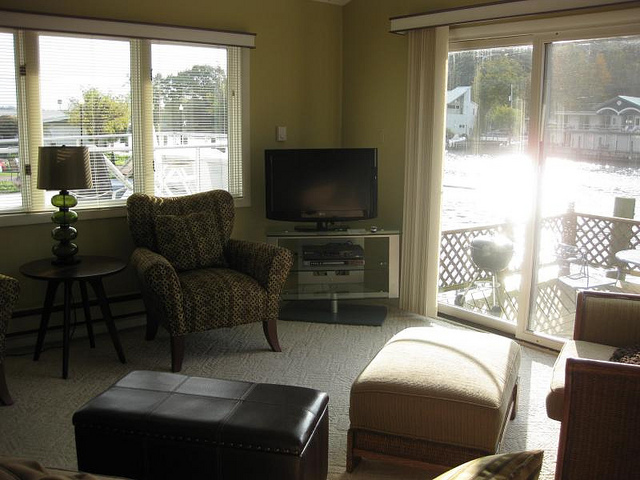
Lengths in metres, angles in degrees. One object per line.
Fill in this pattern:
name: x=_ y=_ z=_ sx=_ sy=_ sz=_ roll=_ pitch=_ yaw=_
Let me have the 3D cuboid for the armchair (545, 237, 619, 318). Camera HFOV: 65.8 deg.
armchair: x=1.868 y=0.247 z=3.663 sx=0.382 sy=0.521 sz=0.364 roll=-6 pitch=11 yaw=-20

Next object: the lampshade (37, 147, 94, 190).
lampshade: x=-1.815 y=-0.526 z=3.506 sx=0.399 sy=0.325 sz=0.402 roll=13 pitch=17 yaw=39

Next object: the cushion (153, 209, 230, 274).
cushion: x=-0.999 y=0.012 z=3.803 sx=0.521 sy=0.466 sz=0.154 roll=-5 pitch=-1 yaw=-3

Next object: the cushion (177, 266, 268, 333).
cushion: x=-0.707 y=0.436 z=3.668 sx=0.601 sy=0.346 sz=0.397 roll=-5 pitch=14 yaw=-20

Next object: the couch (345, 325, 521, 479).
couch: x=0.568 y=0.696 z=2.557 sx=0.659 sy=0.482 sz=0.944 roll=0 pitch=9 yaw=17

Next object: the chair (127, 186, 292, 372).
chair: x=-0.928 y=0.207 z=3.807 sx=1.062 sy=1.127 sz=1.089 roll=-7 pitch=10 yaw=-44

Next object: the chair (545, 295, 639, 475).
chair: x=1.267 y=0.688 z=2.312 sx=0.281 sy=0.489 sz=0.832 roll=3 pitch=9 yaw=25

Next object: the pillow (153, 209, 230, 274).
pillow: x=-1.012 y=0.018 z=3.871 sx=0.515 sy=0.467 sz=0.153 roll=-2 pitch=9 yaw=18

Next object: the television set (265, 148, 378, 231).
television set: x=0.014 y=-0.476 z=4.407 sx=0.805 sy=0.556 sz=0.132 roll=0 pitch=5 yaw=0
